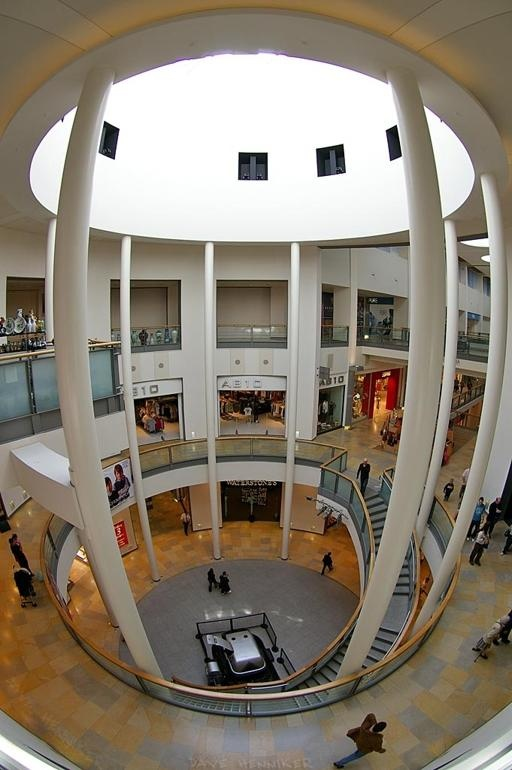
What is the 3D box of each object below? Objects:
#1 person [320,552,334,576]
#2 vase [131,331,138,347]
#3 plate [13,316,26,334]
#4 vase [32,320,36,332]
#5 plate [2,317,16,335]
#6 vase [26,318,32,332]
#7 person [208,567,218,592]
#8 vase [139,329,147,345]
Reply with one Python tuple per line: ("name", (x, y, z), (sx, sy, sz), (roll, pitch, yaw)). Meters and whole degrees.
("person", (2.534, 6.453, 16.127), (0.382, 1.015, 1.025), (2, 12, 14))
("vase", (-4.175, -1.634, 16.367), (0.250, 0.678, 0.241), (-2, 11, -7))
("plate", (-4.797, -1.251, 9.537), (0.242, 0.353, 0.124), (-1, -3, -37))
("vase", (-4.752, -1.323, 10.046), (0.072, 0.240, 0.494), (-5, 13, -22))
("plate", (-4.890, -1.151, 9.256), (0.253, 0.328, 0.565), (-5, 13, -21))
("vase", (-4.709, -1.286, 9.734), (0.088, 0.298, 0.228), (-4, 12, -17))
("person", (-1.336, 6.622, 15.047), (0.295, 0.797, 0.465), (-2, 11, -5))
("vase", (-3.949, -1.734, 16.596), (0.321, 0.519, 0.166), (-5, 8, -37))
